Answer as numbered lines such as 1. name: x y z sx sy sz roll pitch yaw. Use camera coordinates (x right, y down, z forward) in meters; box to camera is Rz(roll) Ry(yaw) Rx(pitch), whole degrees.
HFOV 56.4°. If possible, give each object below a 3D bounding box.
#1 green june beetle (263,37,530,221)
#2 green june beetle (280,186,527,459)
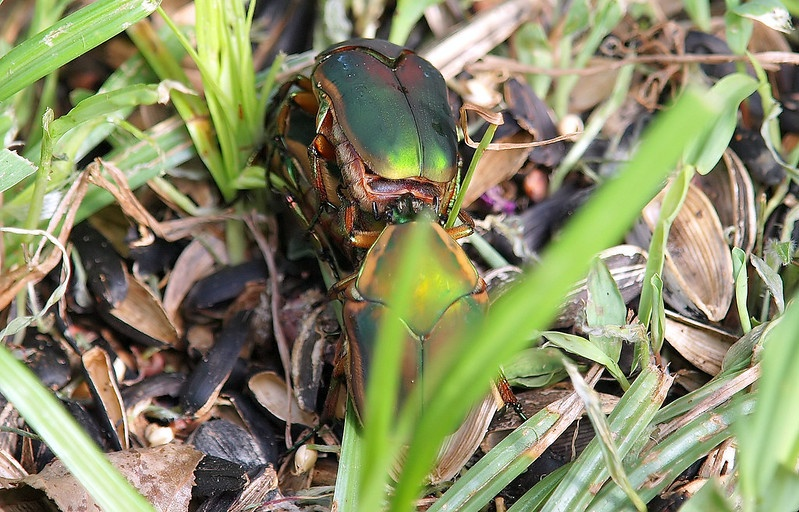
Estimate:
1. green june beetle: -0.033 -0.264 1.560 0.314 0.172 0.467 -1 77 -27
2. green june beetle: 0.026 0.111 1.442 0.341 0.476 0.136 -14 -4 -8
